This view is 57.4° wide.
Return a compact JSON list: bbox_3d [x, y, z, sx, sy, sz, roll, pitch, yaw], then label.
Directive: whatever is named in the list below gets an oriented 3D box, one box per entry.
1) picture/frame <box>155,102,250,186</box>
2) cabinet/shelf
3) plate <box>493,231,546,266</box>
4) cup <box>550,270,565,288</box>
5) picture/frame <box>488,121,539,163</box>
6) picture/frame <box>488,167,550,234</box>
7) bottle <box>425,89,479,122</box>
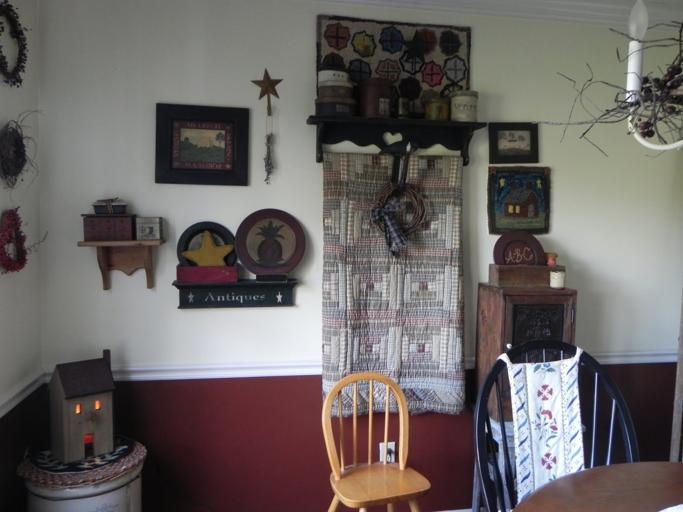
[{"bbox_3d":[-0.797,-0.631,3.465,0.433,0.406,0.032,1,-1,-7],"label":"picture/frame"},{"bbox_3d":[1.112,0.522,3.668,0.466,0.847,0.427,4,17,16],"label":"cabinet/shelf"},{"bbox_3d":[1.034,-0.042,3.606,0.296,0.190,0.062,0,4,-2],"label":"plate"},{"bbox_3d":[1.204,0.136,3.476,0.079,0.090,0.086,0,-4,0],"label":"cup"},{"bbox_3d":[0.997,-0.670,3.666,0.228,0.206,0.010,-1,2,-2],"label":"picture/frame"},{"bbox_3d":[1.031,-0.334,3.676,0.365,0.415,0.039,0,-2,-6],"label":"picture/frame"},{"bbox_3d":[0.623,-0.832,3.489,0.265,0.157,0.165,2,3,4],"label":"bottle"}]
